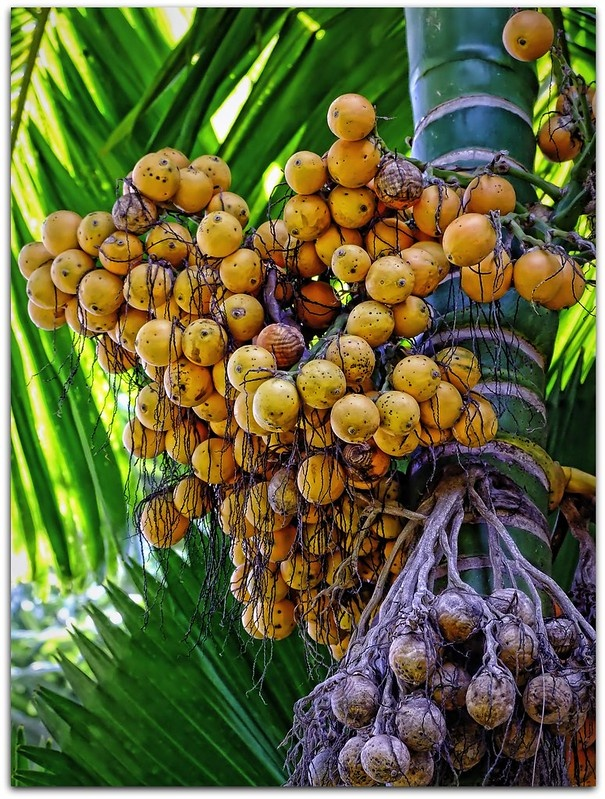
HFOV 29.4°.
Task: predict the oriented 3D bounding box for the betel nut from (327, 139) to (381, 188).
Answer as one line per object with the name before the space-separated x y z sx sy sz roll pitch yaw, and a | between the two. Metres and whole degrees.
betel nut | 0.086 -0.416 1.966 0.091 0.102 0.088 9 14 3

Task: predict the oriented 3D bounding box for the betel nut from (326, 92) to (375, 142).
betel nut | 0.082 -0.472 1.945 0.078 0.066 0.074 -8 -4 4
